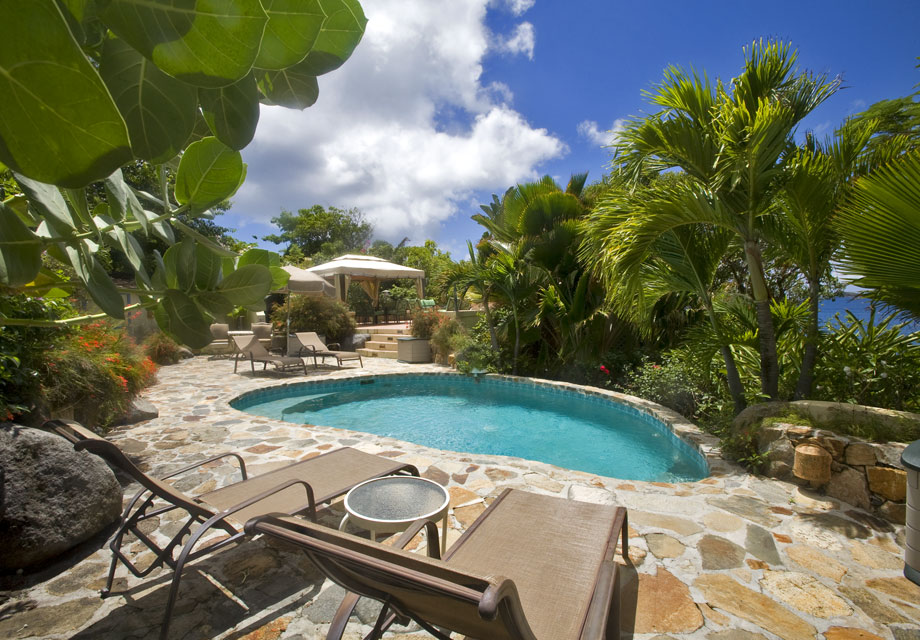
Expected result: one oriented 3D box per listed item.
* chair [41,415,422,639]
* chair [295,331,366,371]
[{"bbox_3d":[-1.671,1.311,4.521,1.426,1.635,2.895,7,11,41],"label":"chair"},{"bbox_3d":[-3.842,0.809,13.961,1.930,0.974,1.035,0,-2,38],"label":"chair"}]
